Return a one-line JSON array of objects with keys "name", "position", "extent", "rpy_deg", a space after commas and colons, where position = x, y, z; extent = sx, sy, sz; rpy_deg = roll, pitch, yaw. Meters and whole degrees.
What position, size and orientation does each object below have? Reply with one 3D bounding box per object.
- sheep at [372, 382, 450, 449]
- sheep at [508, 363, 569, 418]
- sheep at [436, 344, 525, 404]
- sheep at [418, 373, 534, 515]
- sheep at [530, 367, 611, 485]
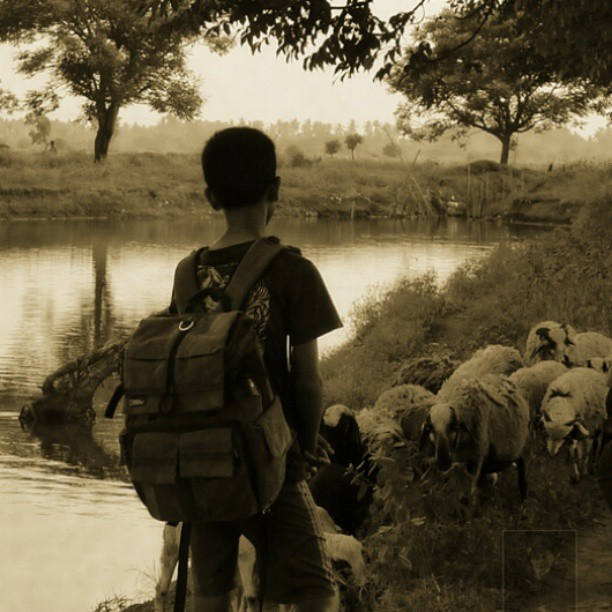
[{"name": "sheep", "position": [0.841, 0.982, 9.024], "extent": [0.574, 0.291, 0.387], "rpy_deg": [-13, 9, -33]}, {"name": "sheep", "position": [1.859, 0.613, 8.789], "extent": [0.326, 0.502, 0.226], "rpy_deg": [6, 11, 11]}, {"name": "sheep", "position": [1.403, 0.594, 9.135], "extent": [0.708, 0.307, 0.459], "rpy_deg": [8, 30, 45]}, {"name": "sheep", "position": [1.448, 1.037, 8.829], "extent": [1.020, 1.036, 0.540], "rpy_deg": [-14, 13, -39]}, {"name": "sheep", "position": [2.144, 0.907, 8.689], "extent": [0.493, 0.955, 0.585], "rpy_deg": [14, -7, 42]}]
